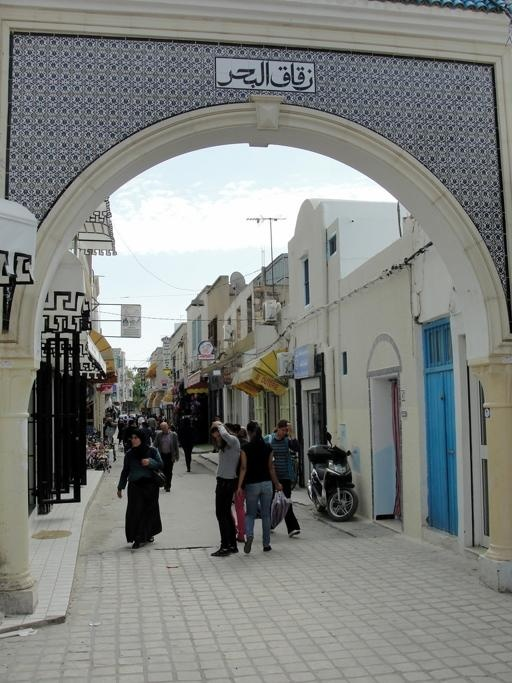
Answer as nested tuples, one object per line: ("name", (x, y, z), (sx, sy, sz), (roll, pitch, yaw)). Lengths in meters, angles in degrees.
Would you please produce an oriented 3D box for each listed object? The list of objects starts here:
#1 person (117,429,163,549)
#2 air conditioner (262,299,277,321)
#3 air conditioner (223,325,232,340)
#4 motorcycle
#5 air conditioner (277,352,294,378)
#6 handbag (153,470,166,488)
("person", (-1.521, 1.914, 9.651), (0.546, 1.496, 0.686), (0, -6, -8))
("air conditioner", (0.373, -0.815, 19.351), (0.405, 0.604, 0.401), (-1, -6, 2))
("air conditioner", (-1.070, -0.322, 27.626), (0.353, 0.837, 0.456), (0, 0, -10))
("motorcycle", (1.203, 2.237, 11.615), (0.533, 1.152, 1.309), (1, -7, -17))
("air conditioner", (0.694, 0.517, 17.182), (0.395, 0.923, 0.565), (2, -21, -2))
("handbag", (-1.268, 1.780, 9.725), (0.140, 0.288, 0.091), (-15, -10, 24))
